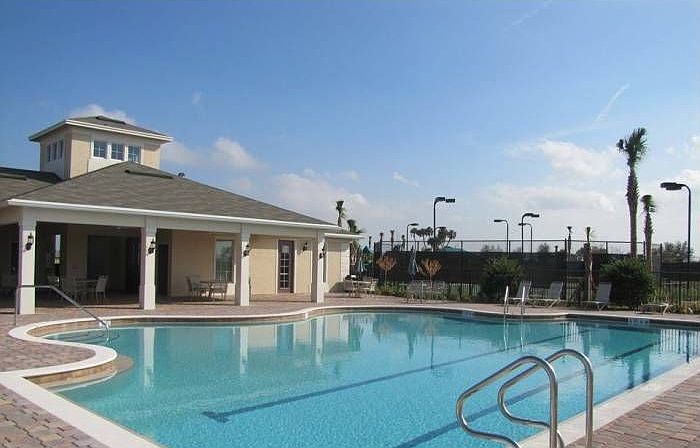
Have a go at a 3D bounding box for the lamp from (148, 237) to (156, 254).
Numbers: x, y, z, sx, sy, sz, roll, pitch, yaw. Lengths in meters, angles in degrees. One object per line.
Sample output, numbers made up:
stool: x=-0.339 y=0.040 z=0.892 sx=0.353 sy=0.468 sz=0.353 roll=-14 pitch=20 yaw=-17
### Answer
lamp: x=-8.894 y=0.973 z=22.825 sx=0.239 sy=0.678 sz=0.117 roll=4 pitch=-7 yaw=-42

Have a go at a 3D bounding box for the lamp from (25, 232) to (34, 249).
lamp: x=-13.099 y=0.693 z=20.858 sx=0.130 sy=0.738 sz=0.273 roll=-3 pitch=-6 yaw=34

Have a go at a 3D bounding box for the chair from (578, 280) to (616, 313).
chair: x=12.805 y=3.704 z=26.320 sx=1.486 sy=1.399 sz=1.228 roll=3 pitch=-6 yaw=-27

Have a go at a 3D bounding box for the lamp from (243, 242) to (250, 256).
lamp: x=-5.109 y=1.242 z=25.162 sx=0.124 sy=0.688 sz=0.330 roll=-3 pitch=-6 yaw=29

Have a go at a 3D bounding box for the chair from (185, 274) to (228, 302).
chair: x=-7.603 y=3.431 z=27.228 sx=1.858 sy=1.286 sz=1.443 roll=-3 pitch=-5 yaw=17

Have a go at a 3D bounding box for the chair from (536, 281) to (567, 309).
chair: x=10.772 y=3.739 z=27.258 sx=2.297 sy=1.332 sz=1.298 roll=4 pitch=-7 yaw=-33
